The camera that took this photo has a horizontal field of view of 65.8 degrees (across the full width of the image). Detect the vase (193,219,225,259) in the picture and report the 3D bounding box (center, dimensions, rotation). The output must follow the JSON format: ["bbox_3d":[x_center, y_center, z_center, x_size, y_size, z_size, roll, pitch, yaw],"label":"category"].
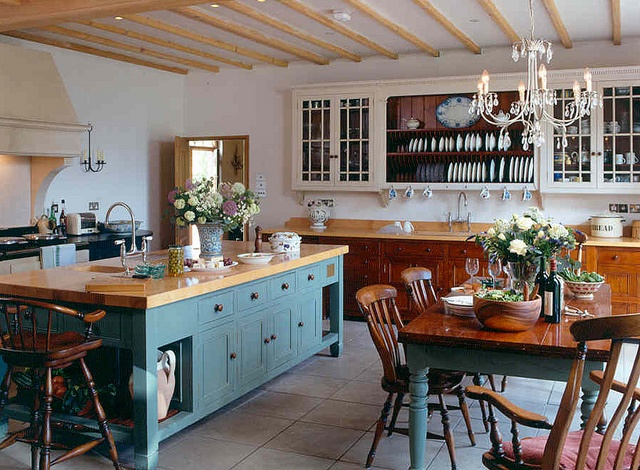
[{"bbox_3d":[-0.884,0.054,4.073,0.262,0.292,0.293,-1,-4,-3],"label":"vase"}]

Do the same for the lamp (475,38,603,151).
[{"bbox_3d":[1.851,-1.205,4.287,0.957,0.884,1.094,2,5,19],"label":"lamp"}]

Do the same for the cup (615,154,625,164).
[{"bbox_3d":[3.333,-0.842,5.493,0.071,0.093,0.110,-2,6,-14],"label":"cup"}]

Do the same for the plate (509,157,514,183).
[{"bbox_3d":[2.289,-0.781,5.912,0.052,0.289,0.104,2,6,19],"label":"plate"}]

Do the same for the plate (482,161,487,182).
[{"bbox_3d":[1.999,-0.762,6.001,0.056,0.234,0.059,2,6,17],"label":"plate"}]

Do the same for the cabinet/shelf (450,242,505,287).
[{"bbox_3d":[1.384,0.245,4.347,0.559,0.512,0.216,-1,-2,26],"label":"cabinet/shelf"}]

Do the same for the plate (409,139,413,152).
[{"bbox_3d":[1.149,-1.121,6.204,0.031,0.120,0.094,7,-1,-21],"label":"plate"}]

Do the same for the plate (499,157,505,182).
[{"bbox_3d":[2.197,-0.783,5.961,0.083,0.298,0.083,1,6,12],"label":"plate"}]

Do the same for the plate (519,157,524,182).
[{"bbox_3d":[2.373,-0.765,5.843,0.051,0.239,0.061,6,1,8],"label":"plate"}]

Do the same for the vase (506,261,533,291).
[{"bbox_3d":[1.200,0.256,3.040,0.168,0.173,0.159,3,-4,-42],"label":"vase"}]

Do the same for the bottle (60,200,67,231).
[{"bbox_3d":[-3.149,-0.236,6.064,0.081,0.399,0.230,-3,7,-28],"label":"bottle"}]

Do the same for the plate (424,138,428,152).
[{"bbox_3d":[1.313,-1.125,6.156,0.046,0.144,0.042,11,1,30],"label":"plate"}]

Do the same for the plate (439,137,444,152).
[{"bbox_3d":[1.494,-1.108,6.063,0.040,0.135,0.137,9,7,19],"label":"plate"}]

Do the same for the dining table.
[{"bbox_3d":[0.871,0.606,2.619,0.704,0.557,1.117,1,-1,27],"label":"dining table"}]

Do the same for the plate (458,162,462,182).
[{"bbox_3d":[1.722,-0.770,6.084,0.042,0.199,0.059,7,0,12],"label":"plate"}]

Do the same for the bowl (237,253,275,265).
[{"bbox_3d":[-0.523,0.184,4.027,0.294,0.061,0.334,0,6,-4],"label":"bowl"}]

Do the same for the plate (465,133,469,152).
[{"bbox_3d":[1.773,-1.116,5.963,0.059,0.226,0.085,1,6,14],"label":"plate"}]

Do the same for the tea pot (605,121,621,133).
[{"bbox_3d":[3.242,-1.193,5.479,0.127,0.118,0.128,0,4,0],"label":"tea pot"}]

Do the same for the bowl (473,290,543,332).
[{"bbox_3d":[1.052,0.424,2.755,0.375,0.173,0.387,-2,4,0],"label":"bowl"}]

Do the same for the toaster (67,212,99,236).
[{"bbox_3d":[-2.905,-0.132,6.112,0.243,0.293,0.393,2,1,25],"label":"toaster"}]

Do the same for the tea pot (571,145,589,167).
[{"bbox_3d":[2.944,-0.901,5.591,0.206,0.208,0.153,1,2,19],"label":"tea pot"}]

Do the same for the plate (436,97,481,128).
[{"bbox_3d":[1.669,-1.533,6.065,0.065,0.429,0.426,-17,-29,-19],"label":"plate"}]

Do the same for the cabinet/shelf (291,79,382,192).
[{"bbox_3d":[0.243,-1.293,6.393,1.532,1.686,0.490,0,0,19],"label":"cabinet/shelf"}]

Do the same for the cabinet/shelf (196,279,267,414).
[{"bbox_3d":[-0.732,0.765,3.605,0.311,0.740,0.871,4,6,27],"label":"cabinet/shelf"}]

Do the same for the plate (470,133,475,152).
[{"bbox_3d":[1.833,-1.113,5.948,0.059,0.199,0.063,3,2,-44],"label":"plate"}]

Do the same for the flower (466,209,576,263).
[{"bbox_3d":[1.244,0.023,3.010,0.406,0.253,0.409,-2,2,-40],"label":"flower"}]

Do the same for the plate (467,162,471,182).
[{"bbox_3d":[1.835,-0.766,6.061,0.066,0.243,0.026,-2,6,-15],"label":"plate"}]

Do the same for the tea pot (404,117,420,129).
[{"bbox_3d":[1.162,-1.394,6.183,0.142,0.099,0.140,-1,1,0],"label":"tea pot"}]

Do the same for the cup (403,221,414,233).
[{"bbox_3d":[1.103,-0.087,6.270,0.151,0.142,0.115,18,-20,-3],"label":"cup"}]

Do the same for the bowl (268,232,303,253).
[{"bbox_3d":[-0.305,0.071,4.423,0.264,0.165,0.251,0,6,0],"label":"bowl"}]

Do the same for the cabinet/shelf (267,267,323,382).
[{"bbox_3d":[-0.230,0.739,4.210,0.376,0.864,1.049,-2,0,23],"label":"cabinet/shelf"}]

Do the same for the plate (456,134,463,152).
[{"bbox_3d":[1.703,-1.116,6.020,0.085,0.211,0.088,0,6,0],"label":"plate"}]

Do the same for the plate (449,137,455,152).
[{"bbox_3d":[1.617,-1.106,6.065,0.049,0.175,0.092,3,7,28],"label":"plate"}]

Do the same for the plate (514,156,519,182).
[{"bbox_3d":[2.341,-0.778,5.887,0.062,0.289,0.083,1,6,9],"label":"plate"}]

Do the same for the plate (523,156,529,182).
[{"bbox_3d":[2.419,-0.763,5.815,0.045,0.254,0.044,4,2,-25],"label":"plate"}]

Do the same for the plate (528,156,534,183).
[{"bbox_3d":[2.472,-0.757,5.788,0.058,0.284,0.070,0,6,5],"label":"plate"}]

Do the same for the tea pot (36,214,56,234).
[{"bbox_3d":[-3.230,-0.132,5.823,0.199,0.225,0.229,3,7,31],"label":"tea pot"}]

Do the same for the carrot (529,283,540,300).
[{"bbox_3d":[1.217,0.306,2.807,0.031,0.037,0.141,11,49,25],"label":"carrot"}]

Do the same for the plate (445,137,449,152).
[{"bbox_3d":[1.561,-1.117,6.072,0.064,0.160,0.017,4,7,36],"label":"plate"}]

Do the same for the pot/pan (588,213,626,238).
[{"bbox_3d":[3.182,-0.090,5.480,0.368,0.245,0.251,1,5,25],"label":"pot/pan"}]

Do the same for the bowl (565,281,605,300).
[{"bbox_3d":[1.760,0.351,3.345,0.167,0.064,0.164,0,-1,0],"label":"bowl"}]

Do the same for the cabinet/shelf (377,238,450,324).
[{"bbox_3d":[1.193,0.498,6.130,0.807,1.052,0.516,1,12,22],"label":"cabinet/shelf"}]
